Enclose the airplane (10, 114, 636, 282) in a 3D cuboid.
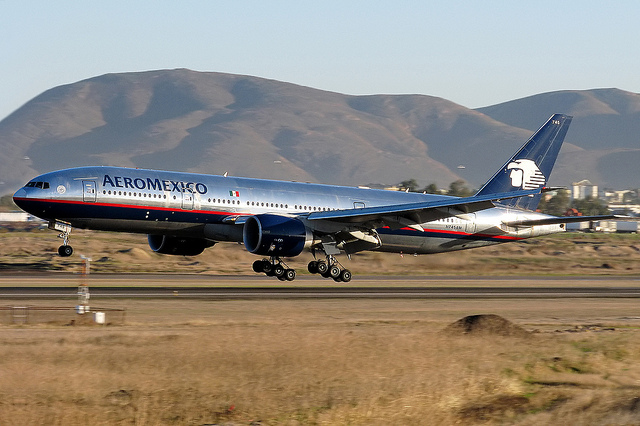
[{"bbox_3d":[-0.476,0.129,54.064,30.173,4.795,21.328,3,-3,-16],"label":"airplane"}]
